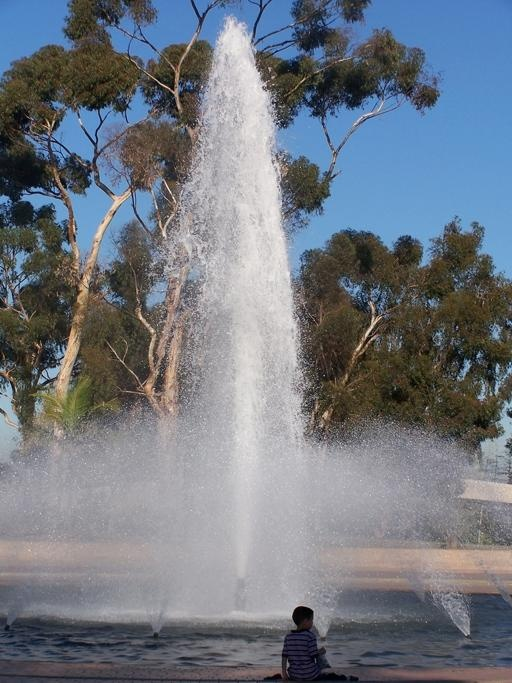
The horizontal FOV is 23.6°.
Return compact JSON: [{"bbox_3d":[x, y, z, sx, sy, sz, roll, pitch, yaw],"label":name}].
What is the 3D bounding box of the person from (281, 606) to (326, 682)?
[{"bbox_3d":[0.600,3.903,15.521,0.519,0.856,0.471,2,6,-1],"label":"person"}]
